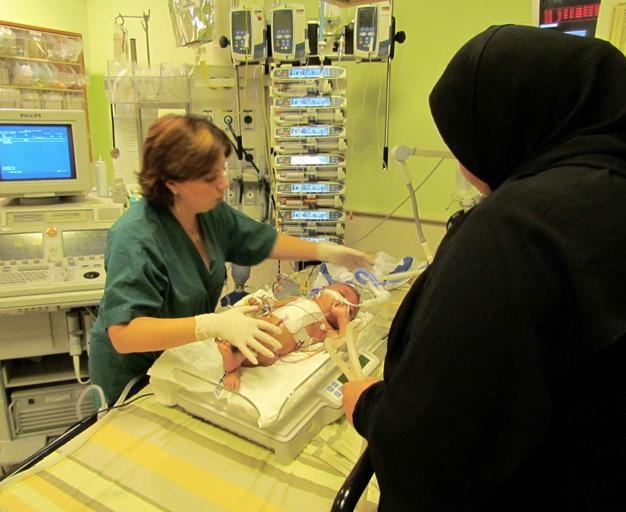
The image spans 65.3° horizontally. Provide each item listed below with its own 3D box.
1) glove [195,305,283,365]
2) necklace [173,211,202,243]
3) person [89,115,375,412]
[{"bbox_3d":[-0.226,0.246,1.470,0.174,0.056,0.113,6,56,9],"label":"glove"},{"bbox_3d":[-0.446,-0.108,1.750,0.072,0.098,0.074,11,27,35],"label":"necklace"},{"bbox_3d":[-0.289,-0.032,1.953,0.946,1.316,0.971,5,22,11],"label":"person"}]
